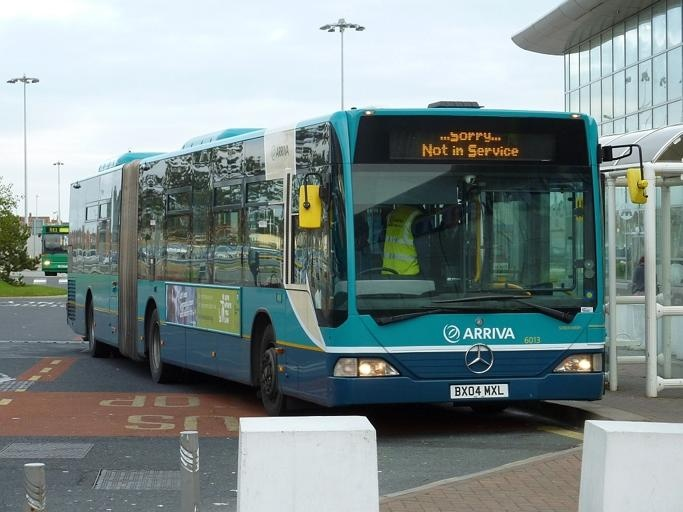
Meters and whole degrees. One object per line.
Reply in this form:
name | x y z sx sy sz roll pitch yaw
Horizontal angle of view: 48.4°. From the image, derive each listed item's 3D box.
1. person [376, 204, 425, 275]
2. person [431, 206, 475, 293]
person | 0.626 -0.187 8.267 0.484 1.013 0.590 -4 8 -41
person | 1.244 -0.087 8.375 0.493 0.948 0.202 1 -2 2
